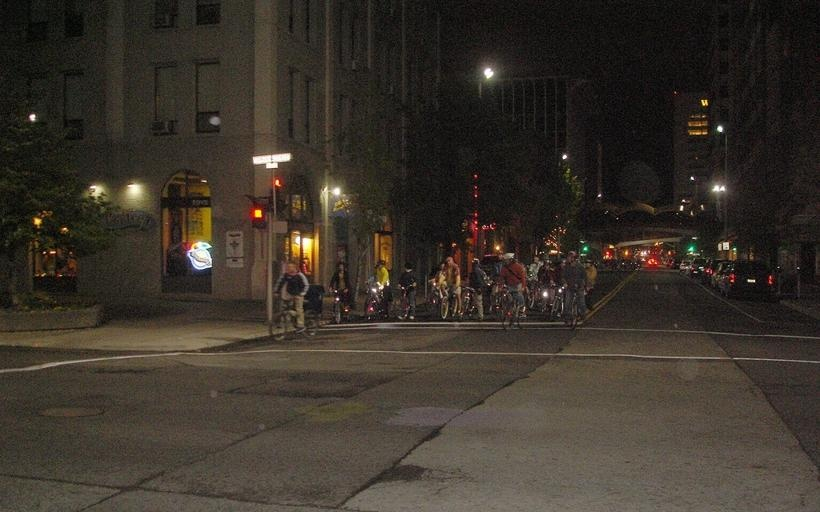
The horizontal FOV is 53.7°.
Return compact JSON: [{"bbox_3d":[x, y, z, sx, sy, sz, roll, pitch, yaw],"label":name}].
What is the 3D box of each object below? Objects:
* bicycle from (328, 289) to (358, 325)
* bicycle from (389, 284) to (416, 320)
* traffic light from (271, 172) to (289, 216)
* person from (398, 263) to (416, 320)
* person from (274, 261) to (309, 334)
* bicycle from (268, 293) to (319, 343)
[{"bbox_3d":[-2.560,1.916,29.965,0.773,0.937,1.595,-4,-8,10],"label":"bicycle"},{"bbox_3d":[-0.252,1.953,31.538,0.925,1.084,1.794,-2,-8,8],"label":"bicycle"},{"bbox_3d":[-4.440,-2.043,28.076,0.650,1.578,0.829,0,10,5],"label":"traffic light"},{"bbox_3d":[-0.053,1.300,30.469,0.615,1.719,1.167,1,0,-2],"label":"person"},{"bbox_3d":[-3.687,1.271,25.498,0.970,1.646,0.914,1,0,-9],"label":"person"},{"bbox_3d":[-3.719,2.054,25.702,1.327,1.108,2.182,-21,9,-7],"label":"bicycle"}]
